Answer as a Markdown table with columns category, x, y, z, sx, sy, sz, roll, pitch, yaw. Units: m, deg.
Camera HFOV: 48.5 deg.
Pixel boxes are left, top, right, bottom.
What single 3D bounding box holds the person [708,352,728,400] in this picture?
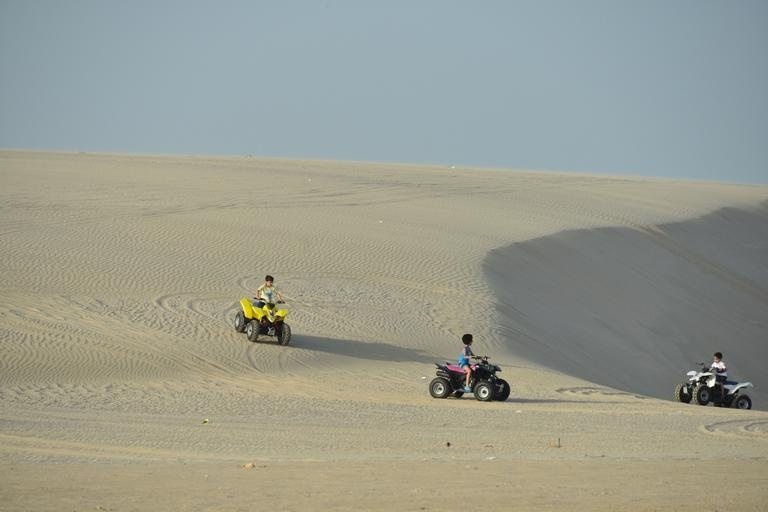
| category | x | y | z | sx | sy | sz | roll | pitch | yaw |
| --- | --- | --- | --- | --- | --- | --- | --- | --- | --- |
| person | 9.285 | 3.317 | 23.600 | 0.458 | 1.305 | 0.472 | 7 | 9 | 18 |

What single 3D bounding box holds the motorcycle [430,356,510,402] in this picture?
| category | x | y | z | sx | sy | sz | roll | pitch | yaw |
| --- | --- | --- | --- | --- | --- | --- | --- | --- | --- |
| motorcycle | 2.263 | 3.188 | 22.152 | 1.877 | 1.046 | 1.160 | -1 | -3 | 6 |

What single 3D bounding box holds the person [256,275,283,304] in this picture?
| category | x | y | z | sx | sy | sz | roll | pitch | yaw |
| --- | --- | --- | --- | --- | --- | --- | --- | --- | --- |
| person | -3.651 | 1.103 | 27.292 | 0.914 | 1.242 | 0.465 | 1 | -29 | -13 |

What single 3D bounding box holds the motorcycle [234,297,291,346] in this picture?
| category | x | y | z | sx | sy | sz | roll | pitch | yaw |
| --- | --- | --- | --- | --- | --- | --- | --- | --- | --- |
| motorcycle | -3.646 | 2.062 | 25.957 | 1.244 | 1.133 | 1.853 | 4 | -6 | -31 |
